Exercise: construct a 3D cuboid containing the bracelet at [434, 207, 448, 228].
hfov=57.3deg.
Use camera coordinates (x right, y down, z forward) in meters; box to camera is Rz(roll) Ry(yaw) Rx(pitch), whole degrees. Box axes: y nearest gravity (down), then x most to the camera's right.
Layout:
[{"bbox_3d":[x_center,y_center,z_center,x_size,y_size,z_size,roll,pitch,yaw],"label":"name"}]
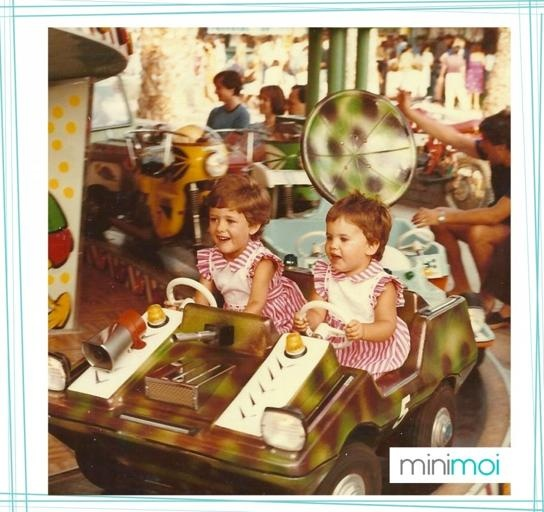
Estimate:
[{"bbox_3d":[0.572,-0.141,1.687,0.045,0.049,0.058,0,1,10],"label":"bracelet"}]
